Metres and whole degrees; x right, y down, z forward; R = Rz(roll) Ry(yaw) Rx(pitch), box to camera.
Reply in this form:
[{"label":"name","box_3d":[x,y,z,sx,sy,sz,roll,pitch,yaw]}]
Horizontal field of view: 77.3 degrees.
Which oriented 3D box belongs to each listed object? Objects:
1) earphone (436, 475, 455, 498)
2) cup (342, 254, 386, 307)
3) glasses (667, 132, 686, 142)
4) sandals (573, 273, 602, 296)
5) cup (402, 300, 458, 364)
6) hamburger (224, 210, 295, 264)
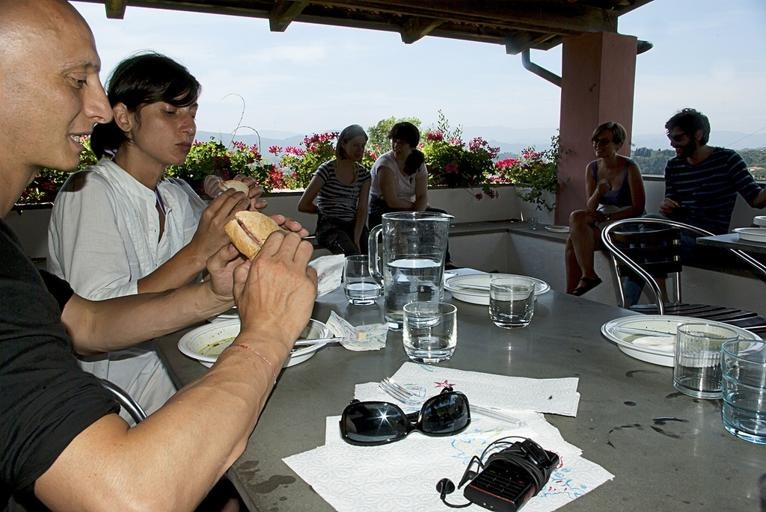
[{"label":"earphone","box_3d":[0.111,0.412,0.864,0.036,0.028,0.040,0,11,8]},{"label":"cup","box_3d":[-0.052,0.092,1.798,0.139,0.163,0.180,0,0,9]},{"label":"glasses","box_3d":[2.537,-1.033,4.167,0.089,0.026,0.084,12,11,-8]},{"label":"sandals","box_3d":[1.901,0.252,4.500,0.263,0.100,0.087,-35,22,-1]},{"label":"cup","box_3d":[0.127,0.209,1.352,0.157,0.139,0.151,-1,3,0]},{"label":"hamburger","box_3d":[-0.329,-0.055,1.264,0.165,0.086,0.127,33,46,20]}]
